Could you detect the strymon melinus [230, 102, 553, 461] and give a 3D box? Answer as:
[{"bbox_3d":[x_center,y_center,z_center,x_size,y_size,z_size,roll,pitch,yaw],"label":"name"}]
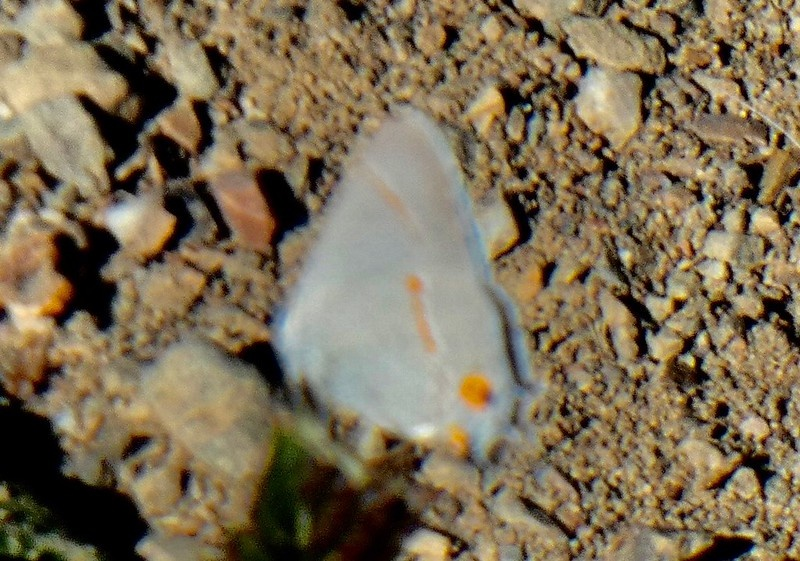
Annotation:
[{"bbox_3d":[0.055,0.022,2.832,0.428,0.042,0.480,27,85,2],"label":"strymon melinus"}]
